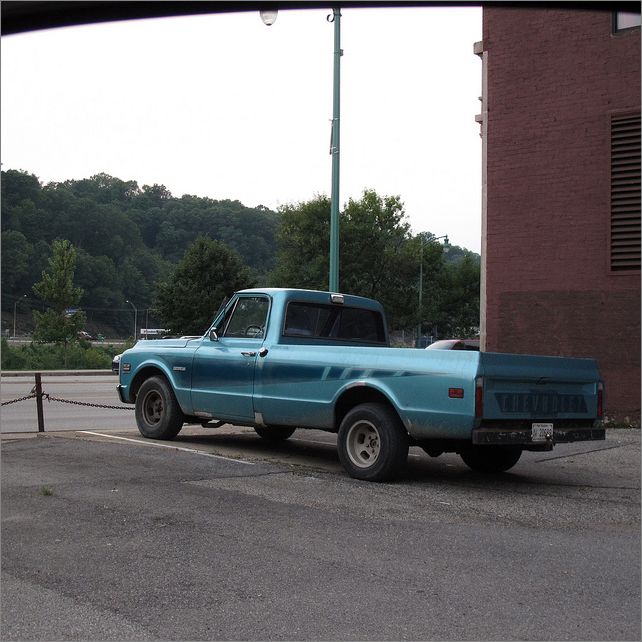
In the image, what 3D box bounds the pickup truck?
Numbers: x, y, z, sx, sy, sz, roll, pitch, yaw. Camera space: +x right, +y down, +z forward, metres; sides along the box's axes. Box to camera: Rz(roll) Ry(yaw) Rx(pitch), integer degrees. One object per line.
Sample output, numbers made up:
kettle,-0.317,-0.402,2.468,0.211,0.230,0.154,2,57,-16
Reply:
pickup truck,0.087,0.690,9.330,6.743,2.177,2.436,-1,-3,43
